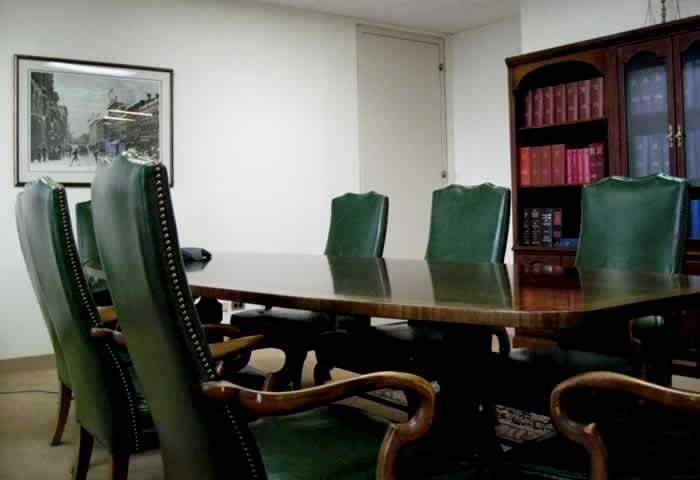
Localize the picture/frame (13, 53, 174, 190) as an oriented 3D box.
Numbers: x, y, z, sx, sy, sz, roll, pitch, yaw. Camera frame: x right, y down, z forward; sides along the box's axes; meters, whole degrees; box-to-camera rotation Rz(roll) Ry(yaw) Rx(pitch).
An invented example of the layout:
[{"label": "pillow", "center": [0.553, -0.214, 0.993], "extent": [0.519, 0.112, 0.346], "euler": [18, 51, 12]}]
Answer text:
[{"label": "picture/frame", "center": [-2.155, -0.976, 4.577], "extent": [1.244, 1.012, 0.046], "euler": [-7, 19, -42]}]
